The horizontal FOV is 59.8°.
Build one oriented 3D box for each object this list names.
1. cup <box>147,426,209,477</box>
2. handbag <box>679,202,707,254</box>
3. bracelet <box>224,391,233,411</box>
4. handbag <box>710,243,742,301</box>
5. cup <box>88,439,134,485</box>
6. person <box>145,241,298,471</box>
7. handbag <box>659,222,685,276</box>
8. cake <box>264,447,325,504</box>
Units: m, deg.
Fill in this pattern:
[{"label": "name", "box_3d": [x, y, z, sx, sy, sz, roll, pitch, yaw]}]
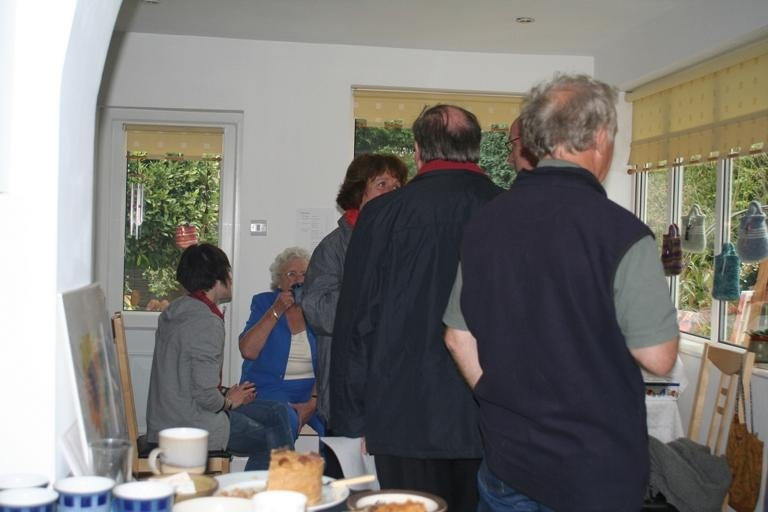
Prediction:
[{"label": "cup", "box_3d": [-0.631, 0.603, 1.990, 0.131, 0.134, 0.199, 3, 1, 27]}, {"label": "handbag", "box_3d": [2.390, -0.220, 5.154, 0.079, 0.367, 0.259, 0, 1, -4]}, {"label": "bracelet", "box_3d": [-0.817, 0.762, 3.520, 0.034, 0.076, 0.064, 14, -19, -37]}, {"label": "handbag", "box_3d": [2.474, 0.109, 4.817, 0.072, 0.416, 0.254, -1, 1, -11]}, {"label": "cup", "box_3d": [-0.732, 0.551, 1.796, 0.113, 0.127, 0.114, 3, 6, 0]}, {"label": "person", "box_3d": [-0.895, 0.745, 3.692, 0.840, 1.577, 0.640, 2, -3, -44]}, {"label": "handbag", "box_3d": [2.227, -0.047, 5.130, 0.166, 0.429, 0.142, -4, -2, -19]}, {"label": "cake", "box_3d": [-0.229, 0.549, 1.769, 0.152, 0.145, 0.147, 8, -4, -39]}]
